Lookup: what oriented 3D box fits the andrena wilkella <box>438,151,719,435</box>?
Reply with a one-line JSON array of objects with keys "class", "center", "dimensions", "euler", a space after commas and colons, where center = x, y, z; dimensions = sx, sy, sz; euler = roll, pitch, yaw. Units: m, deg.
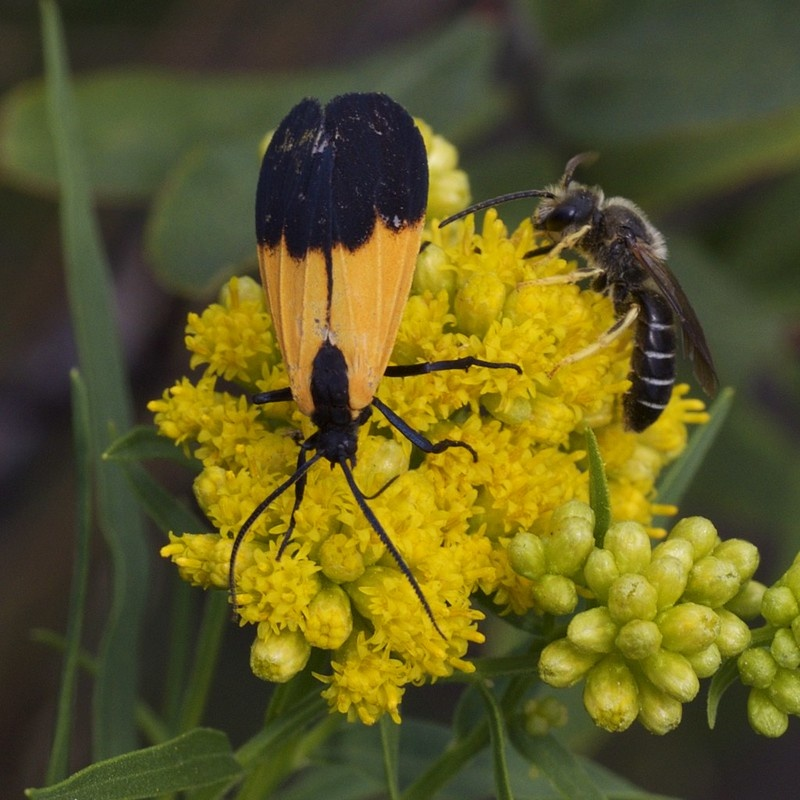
[{"class": "andrena wilkella", "center": [0.280, -0.234, 2.721], "dimensions": [0.626, 0.671, 0.795], "euler": [3, 24, 3]}]

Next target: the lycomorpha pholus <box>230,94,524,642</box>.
[{"class": "lycomorpha pholus", "center": [-0.064, -0.153, 2.478], "dimensions": [0.525, 0.899, 0.243], "euler": [-32, 42, -26]}]
